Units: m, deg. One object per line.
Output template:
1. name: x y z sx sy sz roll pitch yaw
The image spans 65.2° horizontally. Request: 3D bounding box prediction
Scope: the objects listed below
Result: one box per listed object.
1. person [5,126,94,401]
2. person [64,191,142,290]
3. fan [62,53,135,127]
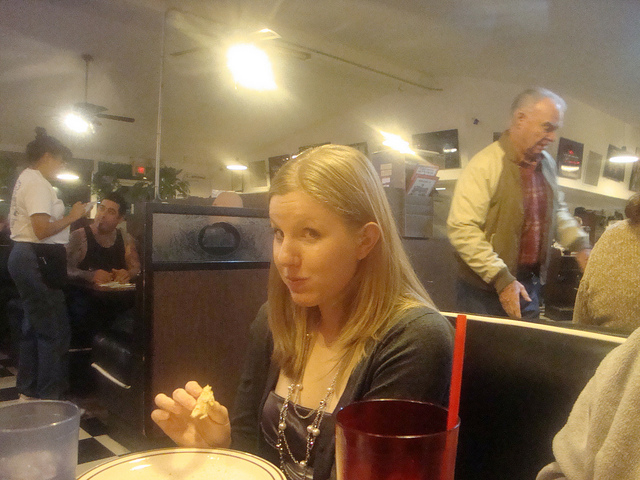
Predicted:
1. person: -1.796 0.185 3.320 0.519 1.867 0.413 7 6 43
2. person: -1.692 0.047 3.937 0.566 0.813 0.552 2 12 -28
3. fan: -3.131 -2.154 7.025 0.893 0.901 0.975 -7 -6 16
